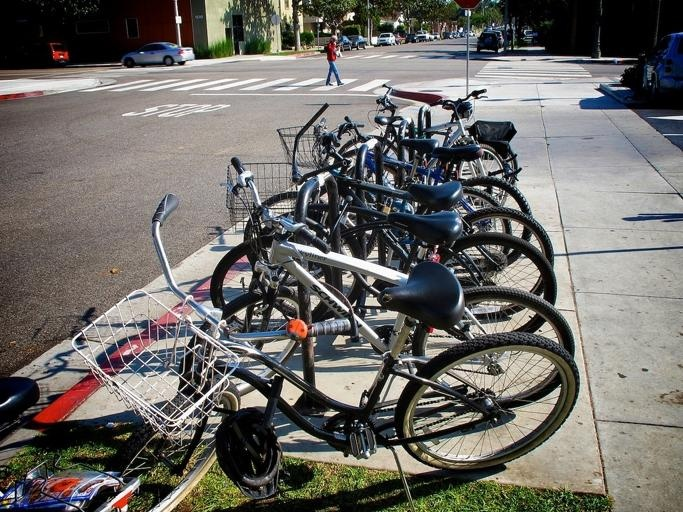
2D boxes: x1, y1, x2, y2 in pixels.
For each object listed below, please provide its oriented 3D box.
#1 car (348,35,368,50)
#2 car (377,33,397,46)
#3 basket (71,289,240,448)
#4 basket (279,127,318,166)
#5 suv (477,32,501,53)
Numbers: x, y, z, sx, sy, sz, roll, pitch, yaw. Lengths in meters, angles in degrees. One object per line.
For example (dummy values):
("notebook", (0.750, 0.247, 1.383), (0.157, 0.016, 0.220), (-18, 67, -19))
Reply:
("car", (1.954, -25.138, 62.980), (1.939, 1.134, 3.483), (7, 24, 15))
("car", (5.987, -28.349, 69.952), (1.769, 1.380, 4.315), (7, 26, 15))
("basket", (-1.136, 0.698, 3.216), (1.108, 0.370, 0.675), (28, 50, 27))
("basket", (-0.469, -1.350, 6.491), (0.513, 0.286, 0.336), (-23, 6, -39))
("suv", (14.073, -20.415, 50.737), (2.041, 1.499, 3.049), (8, 42, 18))
